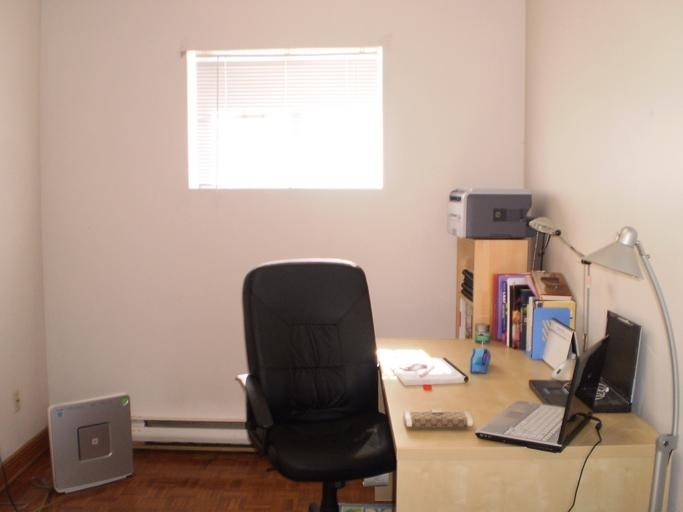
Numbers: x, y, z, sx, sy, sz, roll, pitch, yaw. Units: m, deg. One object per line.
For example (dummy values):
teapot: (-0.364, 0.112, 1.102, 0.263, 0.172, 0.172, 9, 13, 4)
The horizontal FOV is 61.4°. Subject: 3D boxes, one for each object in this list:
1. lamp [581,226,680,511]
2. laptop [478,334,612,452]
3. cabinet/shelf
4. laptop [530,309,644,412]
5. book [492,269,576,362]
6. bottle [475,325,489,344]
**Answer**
lamp: (1.312, 0.457, 2.454, 0.489, 1.176, 0.404, -8, 12, -30)
laptop: (0.881, 0.454, 2.485, 0.426, 0.413, 0.603, 3, 4, 30)
cabinet/shelf: (0.908, 0.193, 3.377, 0.231, 0.692, 0.622, 1, 0, -2)
laptop: (1.172, 0.524, 2.798, 0.406, 0.414, 0.502, -2, 4, 5)
book: (1.029, 0.300, 3.288, 0.541, 0.552, 0.404, 0, -1, 0)
bottle: (0.818, 0.451, 3.314, 0.092, 0.109, 0.095, 1, -4, 1)
